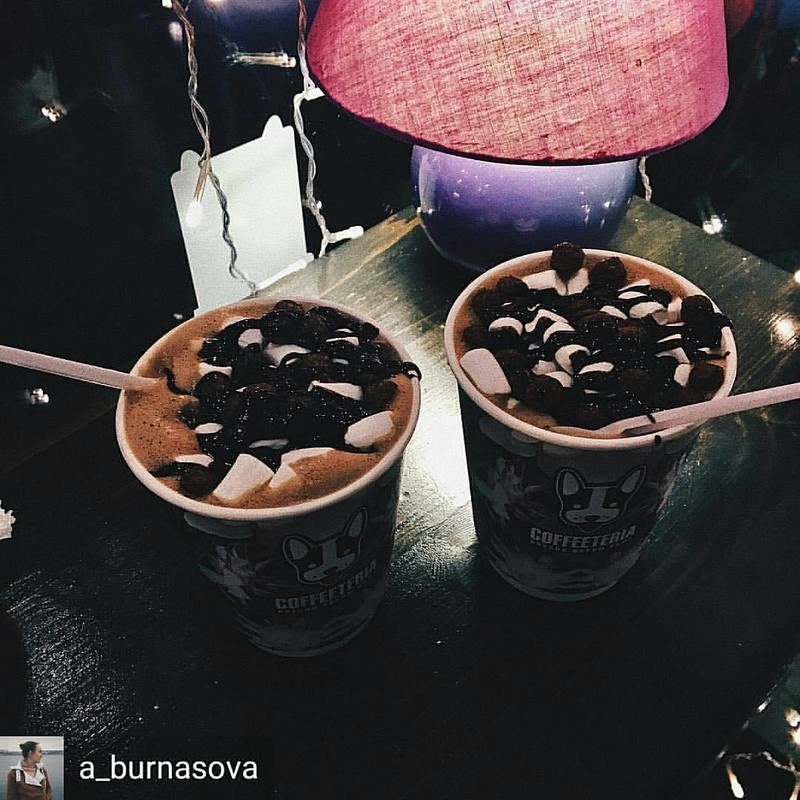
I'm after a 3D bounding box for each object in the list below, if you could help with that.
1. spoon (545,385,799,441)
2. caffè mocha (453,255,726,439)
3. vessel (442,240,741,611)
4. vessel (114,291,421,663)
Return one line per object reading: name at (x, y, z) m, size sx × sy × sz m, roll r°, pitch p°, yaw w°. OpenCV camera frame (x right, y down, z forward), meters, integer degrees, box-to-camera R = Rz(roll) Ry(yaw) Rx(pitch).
spoon at (0.228, 0.012, 0.768) m, size 0.251 × 0.025 × 0.027 m, roll -12°, pitch 22°, yaw 50°
caffè mocha at (0.159, -0.064, 0.841) m, size 0.282 × 0.151 × 0.257 m, roll 0°, pitch 20°, yaw -21°
vessel at (0.178, 0.019, 0.873) m, size 0.254 × 0.284 × 0.282 m, roll 7°, pitch 42°, yaw 15°
vessel at (-0.100, 0.071, 0.829) m, size 0.254 × 0.278 × 0.263 m, roll -5°, pitch 40°, yaw 1°
